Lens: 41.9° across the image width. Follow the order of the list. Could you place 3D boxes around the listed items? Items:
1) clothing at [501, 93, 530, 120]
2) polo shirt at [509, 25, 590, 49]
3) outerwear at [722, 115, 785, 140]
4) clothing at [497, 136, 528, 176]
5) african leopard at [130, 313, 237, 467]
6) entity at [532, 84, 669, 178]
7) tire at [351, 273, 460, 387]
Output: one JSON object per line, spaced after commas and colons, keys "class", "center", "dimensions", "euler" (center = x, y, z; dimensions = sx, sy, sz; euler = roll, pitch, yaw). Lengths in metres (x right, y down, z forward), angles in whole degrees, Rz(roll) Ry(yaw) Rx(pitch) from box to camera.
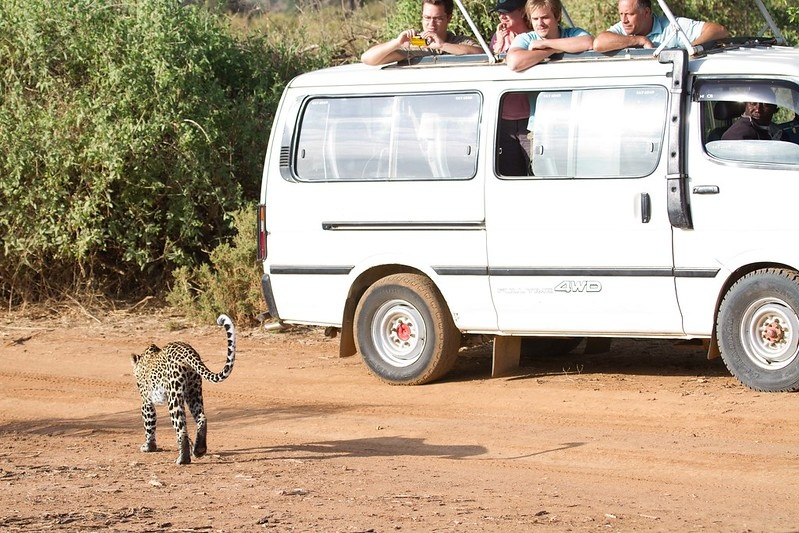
{"class": "clothing", "center": [1.339, -1.807, 11.934], "dimensions": [0.496, 0.289, 0.323], "euler": [7, 10, 18]}
{"class": "polo shirt", "center": [1.796, -2.757, 12.621], "dimensions": [0.676, 0.278, 0.508], "euler": [-5, 1, -5]}
{"class": "outerwear", "center": [3.915, -1.513, 11.527], "dimensions": [0.341, 0.266, 0.884], "euler": [9, 14, 44]}
{"class": "clothing", "center": [1.291, -1.238, 11.864], "dimensions": [0.385, 0.393, 0.098], "euler": [9, 1, 17]}
{"class": "african leopard", "center": [-2.107, 1.154, 10.083], "dimensions": [1.086, 1.422, 0.516], "euler": [5, 11, 32]}
{"class": "entity", "center": [2.204, -1.468, 11.555], "dimensions": [1.428, 0.953, 0.453], "euler": [0, 10, 7]}
{"class": "tire", "center": [0.113, 0.742, 12.414], "dimensions": [1.159, 1.250, 0.440], "euler": [3, 11, 35]}
